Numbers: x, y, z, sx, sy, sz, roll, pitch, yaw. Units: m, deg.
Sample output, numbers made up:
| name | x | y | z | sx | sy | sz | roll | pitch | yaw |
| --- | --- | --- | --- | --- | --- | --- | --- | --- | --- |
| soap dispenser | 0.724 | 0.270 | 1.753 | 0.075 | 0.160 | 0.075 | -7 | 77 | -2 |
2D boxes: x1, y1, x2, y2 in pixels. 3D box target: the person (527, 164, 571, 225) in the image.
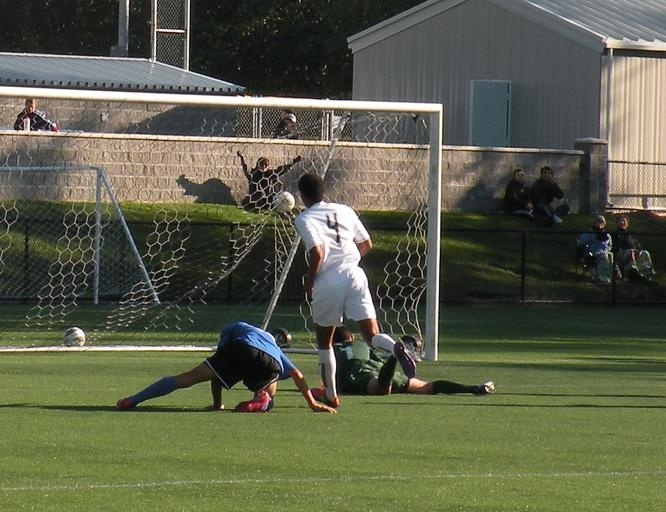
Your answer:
| name | x | y | z | sx | sy | sz | roll | pitch | yaw |
| --- | --- | --- | --- | --- | --- | --- | --- | --- | --- |
| person | 5.094 | -1.423 | 38.469 | 0.792 | 1.372 | 0.906 | -2 | -4 | 9 |

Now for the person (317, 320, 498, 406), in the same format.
| name | x | y | z | sx | sy | sz | roll | pitch | yaw |
| --- | --- | --- | --- | --- | --- | --- | --- | --- | --- |
| person | 0.873 | 1.763 | 24.347 | 1.950 | 0.763 | 1.314 | 10 | 3 | 36 |

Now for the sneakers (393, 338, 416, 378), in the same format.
| name | x | y | z | sx | sy | sz | roll | pitch | yaw |
| --- | --- | --- | --- | --- | --- | --- | --- | --- | --- |
| sneakers | 1.035 | 1.475 | 23.653 | 0.217 | 0.597 | 0.235 | -27 | -11 | -10 |

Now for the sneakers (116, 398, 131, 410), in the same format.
| name | x | y | z | sx | sy | sz | roll | pitch | yaw |
| --- | --- | --- | --- | --- | --- | --- | --- | --- | --- |
| sneakers | -3.032 | 2.128 | 23.664 | 0.141 | 0.140 | 0.183 | 4 | -4 | -16 |

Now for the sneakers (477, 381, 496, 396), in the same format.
| name | x | y | z | sx | sy | sz | roll | pitch | yaw |
| --- | --- | --- | --- | --- | --- | --- | --- | --- | --- |
| sneakers | 2.285 | 1.990 | 24.451 | 0.244 | 0.189 | 0.232 | -11 | -28 | -17 |

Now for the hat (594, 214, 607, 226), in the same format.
| name | x | y | z | sx | sy | sz | roll | pitch | yaw |
| --- | --- | --- | --- | --- | --- | --- | --- | --- | --- |
| hat | 5.719 | -0.812 | 34.957 | 0.305 | 0.242 | 0.457 | 3 | -4 | 1 |

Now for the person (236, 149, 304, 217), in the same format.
| name | x | y | z | sx | sy | sz | roll | pitch | yaw |
| --- | --- | --- | --- | --- | --- | --- | --- | --- | --- |
| person | -1.507 | -1.436 | 35.695 | 1.381 | 2.078 | 0.609 | 0 | -31 | 2 |

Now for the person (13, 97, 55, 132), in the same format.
| name | x | y | z | sx | sy | sz | roll | pitch | yaw |
| --- | --- | --- | --- | --- | --- | --- | --- | --- | --- |
| person | -6.878 | -3.200 | 37.812 | 1.020 | 0.764 | 1.571 | 2 | 0 | -12 |

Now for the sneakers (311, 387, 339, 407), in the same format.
| name | x | y | z | sx | sy | sz | roll | pitch | yaw |
| --- | --- | --- | --- | --- | --- | --- | --- | --- | --- |
| sneakers | -0.152 | 2.059 | 24.017 | 0.512 | 0.188 | 0.216 | 35 | -6 | 4 |

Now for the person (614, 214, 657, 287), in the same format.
| name | x | y | z | sx | sy | sz | roll | pitch | yaw |
| --- | --- | --- | --- | --- | --- | --- | --- | --- | --- |
| person | 6.479 | -0.142 | 35.228 | 0.917 | 1.263 | 2.336 | 2 | 0 | 11 |

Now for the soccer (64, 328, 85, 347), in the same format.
| name | x | y | z | sx | sy | sz | roll | pitch | yaw |
| --- | --- | --- | --- | --- | --- | --- | --- | --- | --- |
| soccer | -4.234 | 1.303 | 26.766 | 0.291 | 0.288 | 0.327 | -5 | -20 | -21 |

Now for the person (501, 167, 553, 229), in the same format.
| name | x | y | z | sx | sy | sz | roll | pitch | yaw |
| --- | --- | --- | --- | --- | --- | --- | --- | --- | --- |
| person | 4.439 | -1.329 | 38.570 | 1.418 | 1.439 | 0.902 | 2 | 5 | 38 |

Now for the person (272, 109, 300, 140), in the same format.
| name | x | y | z | sx | sy | sz | roll | pitch | yaw |
| --- | --- | --- | --- | --- | --- | --- | --- | --- | --- |
| person | -1.185 | -3.156 | 40.171 | 0.524 | 0.341 | 1.039 | -8 | 8 | -9 |
